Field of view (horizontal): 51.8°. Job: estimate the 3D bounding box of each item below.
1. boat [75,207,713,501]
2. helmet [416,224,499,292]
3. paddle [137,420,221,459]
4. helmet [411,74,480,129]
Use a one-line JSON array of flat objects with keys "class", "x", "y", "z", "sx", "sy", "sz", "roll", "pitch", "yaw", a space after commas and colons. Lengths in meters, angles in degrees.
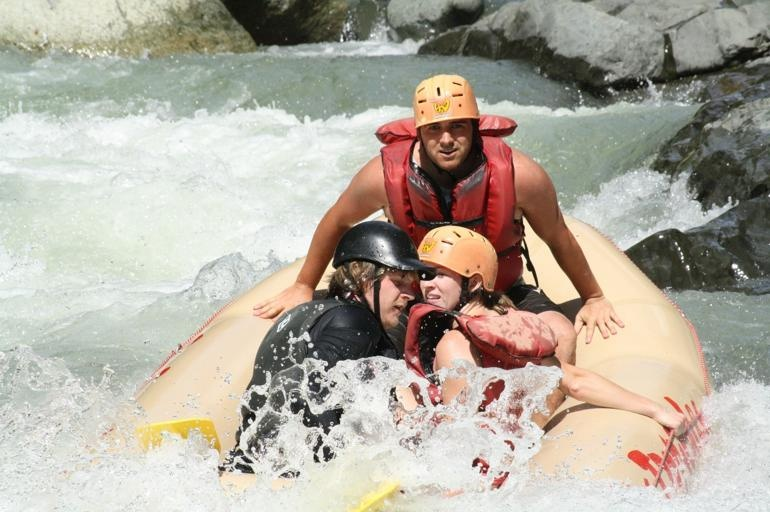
[{"class": "boat", "x": 0.367, "y": 0.529, "z": 6.321, "sx": 4.230, "sy": 0.582, "sz": 2.672, "roll": 6, "pitch": 41, "yaw": 3}, {"class": "helmet", "x": 0.514, "y": 0.019, "z": 5.857, "sx": 0.514, "sy": 0.420, "sz": 0.414, "roll": 2, "pitch": 10, "yaw": -21}, {"class": "paddle", "x": -1.458, "y": 1.286, "z": 5.640, "sx": 0.441, "sy": 0.121, "sz": 0.237, "roll": -2, "pitch": 52, "yaw": -12}, {"class": "helmet", "x": 0.451, "y": -1.162, "z": 5.940, "sx": 0.337, "sy": 0.475, "sz": 0.421, "roll": -6, "pitch": 48, "yaw": 5}]
